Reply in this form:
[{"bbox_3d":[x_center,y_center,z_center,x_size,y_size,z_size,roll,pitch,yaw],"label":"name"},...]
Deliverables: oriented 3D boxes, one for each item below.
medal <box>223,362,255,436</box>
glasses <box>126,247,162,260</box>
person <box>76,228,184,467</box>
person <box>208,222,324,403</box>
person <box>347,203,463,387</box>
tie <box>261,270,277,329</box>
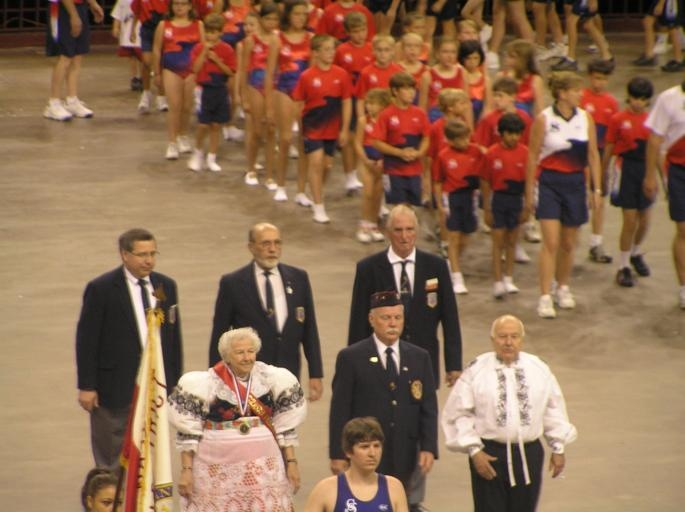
[{"bbox_3d":[-0.873,1.233,12.819,0.212,0.582,0.026,-4,-19,-22],"label":"medal"},{"bbox_3d":[-1.752,-0.010,13.458,0.247,0.082,0.072,-5,11,-25],"label":"glasses"},{"bbox_3d":[-1.908,0.716,13.679,0.870,2.211,0.932,-9,28,-25],"label":"person"},{"bbox_3d":[-0.702,0.439,13.796,0.891,1.832,0.787,-2,15,-18],"label":"person"},{"bbox_3d":[0.566,0.512,14.136,0.865,1.906,0.773,0,14,-12],"label":"person"},{"bbox_3d":[-0.649,0.406,13.679,0.086,0.568,0.027,-8,-8,-6],"label":"tie"}]
